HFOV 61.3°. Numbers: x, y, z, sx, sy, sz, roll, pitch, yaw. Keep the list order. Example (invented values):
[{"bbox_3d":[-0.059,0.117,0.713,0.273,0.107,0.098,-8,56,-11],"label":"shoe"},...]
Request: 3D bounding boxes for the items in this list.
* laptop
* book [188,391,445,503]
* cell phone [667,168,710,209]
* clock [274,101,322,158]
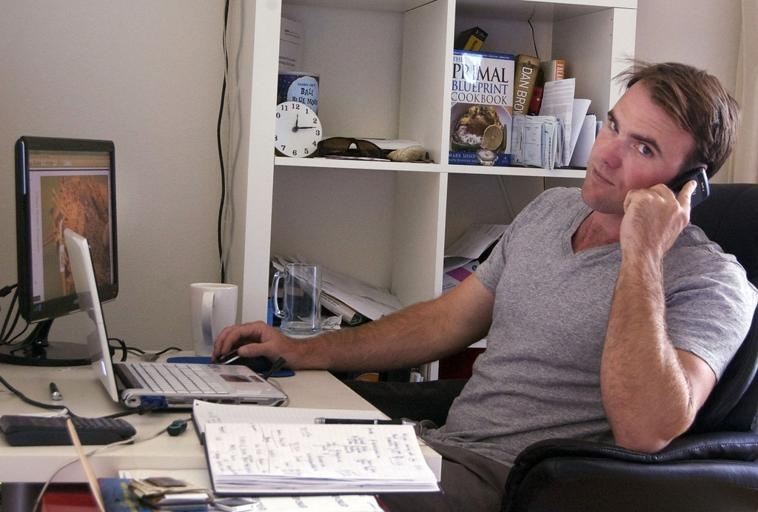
[{"bbox_3d":[-0.452,0.064,1.442,0.417,0.289,0.489,2,4,-21],"label":"laptop"},{"bbox_3d":[-0.115,0.342,1.183,0.416,0.126,0.352,-7,12,-17],"label":"book"},{"bbox_3d":[0.750,-0.156,1.538,0.067,0.090,0.095,-10,3,-17],"label":"cell phone"},{"bbox_3d":[-0.257,-0.393,2.004,0.215,0.193,0.028,-1,1,-24],"label":"clock"}]
